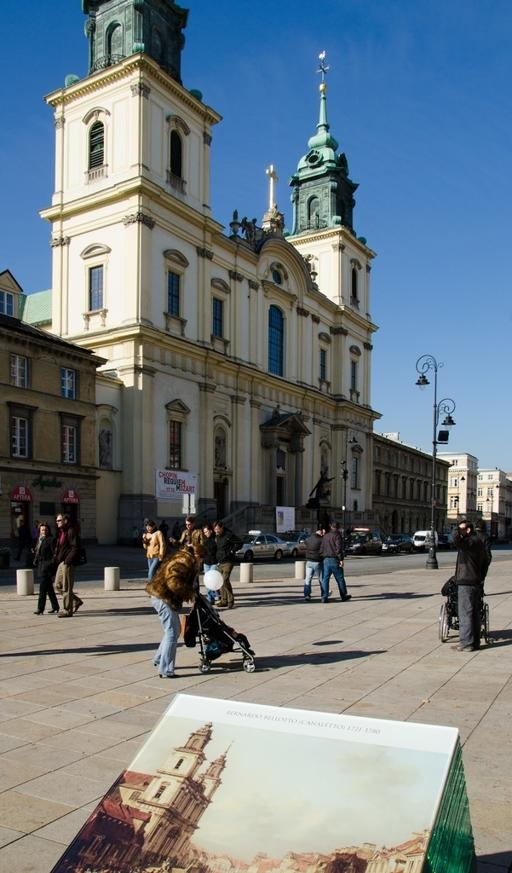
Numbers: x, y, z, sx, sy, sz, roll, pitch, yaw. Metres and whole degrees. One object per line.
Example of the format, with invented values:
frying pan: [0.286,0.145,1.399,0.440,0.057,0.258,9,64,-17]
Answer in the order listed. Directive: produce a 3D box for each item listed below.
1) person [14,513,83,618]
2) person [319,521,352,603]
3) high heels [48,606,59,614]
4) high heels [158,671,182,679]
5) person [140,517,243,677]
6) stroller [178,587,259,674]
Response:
person: [-3.051,2.013,14.362,0.747,1.637,1.370,-2,-8,-13]
person: [1.460,2.330,16.940,0.467,1.482,0.438,1,-1,8]
high heels: [-3.134,2.730,14.289,0.090,0.156,0.264,11,-10,-36]
high heels: [-0.799,2.274,8.664,0.195,0.103,0.074,1,1,0]
person: [-0.767,1.658,8.794,0.558,1.269,0.424,0,-1,1]
stroller: [-0.384,1.907,9.297,0.690,0.960,0.551,-3,-1,-11]
